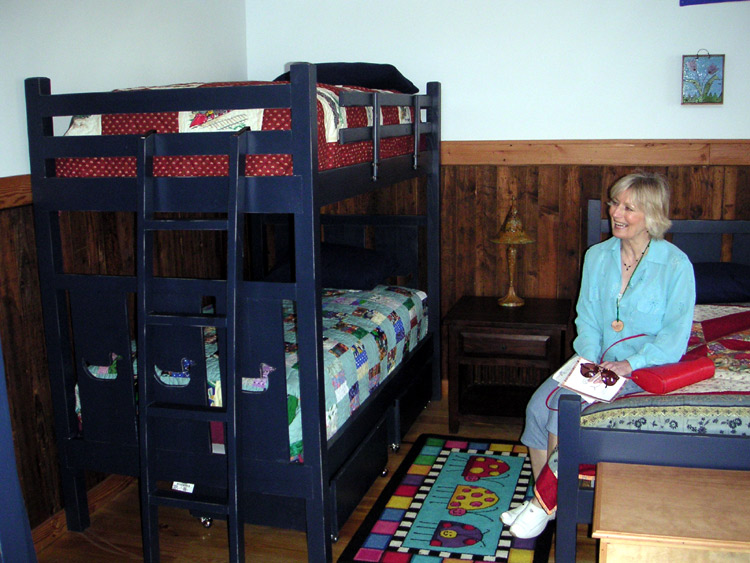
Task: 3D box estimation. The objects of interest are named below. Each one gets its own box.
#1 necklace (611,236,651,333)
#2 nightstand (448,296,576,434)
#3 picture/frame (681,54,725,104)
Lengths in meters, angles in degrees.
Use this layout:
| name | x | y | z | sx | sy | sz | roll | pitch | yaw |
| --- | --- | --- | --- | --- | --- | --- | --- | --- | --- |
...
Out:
| name | x | y | z | sx | sy | sz | roll | pitch | yaw |
| --- | --- | --- | --- | --- | --- | --- | --- | --- | --- |
| necklace | 1.187 | 0.011 | 3.068 | 0.168 | 0.527 | 0.173 | 12 | 39 | 17 |
| nightstand | 0.817 | 0.586 | 4.188 | 0.681 | 0.701 | 0.515 | 3 | 2 | 12 |
| picture/frame | 1.968 | -1.225 | 3.941 | 0.278 | 0.352 | 0.023 | 1 | 7 | 10 |
